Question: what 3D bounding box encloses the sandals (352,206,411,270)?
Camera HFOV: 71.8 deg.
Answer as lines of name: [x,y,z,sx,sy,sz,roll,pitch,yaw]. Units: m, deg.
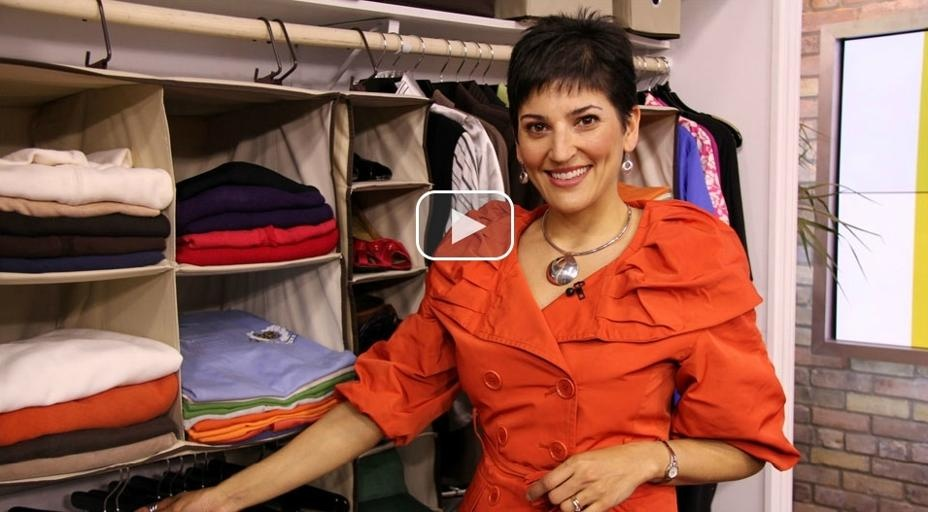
sandals: [-0.376,-0.085,2.663,0.182,0.307,0.095,-11,-32,-42]
